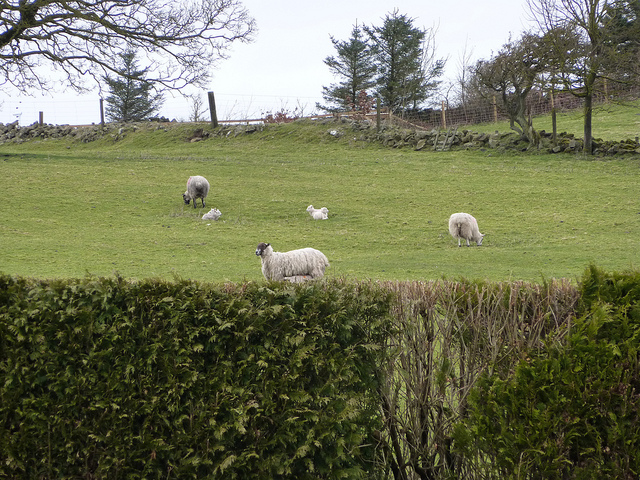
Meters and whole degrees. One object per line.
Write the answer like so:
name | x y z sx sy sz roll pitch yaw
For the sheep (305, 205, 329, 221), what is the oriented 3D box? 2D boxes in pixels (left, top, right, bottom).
sheep | -0.158 -1.171 40.720 0.915 0.609 0.564 4 7 17

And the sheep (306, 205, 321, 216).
sheep | -0.239 -1.290 40.722 0.700 0.269 0.484 6 0 -16

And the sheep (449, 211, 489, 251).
sheep | 5.910 -0.361 36.702 0.867 1.419 2.409 1 2 31

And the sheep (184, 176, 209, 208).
sheep | -5.747 -2.243 42.572 1.001 1.363 0.767 6 12 22

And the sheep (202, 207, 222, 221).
sheep | -4.776 -1.120 40.321 0.610 0.434 0.442 -6 16 -8

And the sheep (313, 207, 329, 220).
sheep | 0.041 -1.131 40.487 0.604 0.481 0.378 -7 16 -19
